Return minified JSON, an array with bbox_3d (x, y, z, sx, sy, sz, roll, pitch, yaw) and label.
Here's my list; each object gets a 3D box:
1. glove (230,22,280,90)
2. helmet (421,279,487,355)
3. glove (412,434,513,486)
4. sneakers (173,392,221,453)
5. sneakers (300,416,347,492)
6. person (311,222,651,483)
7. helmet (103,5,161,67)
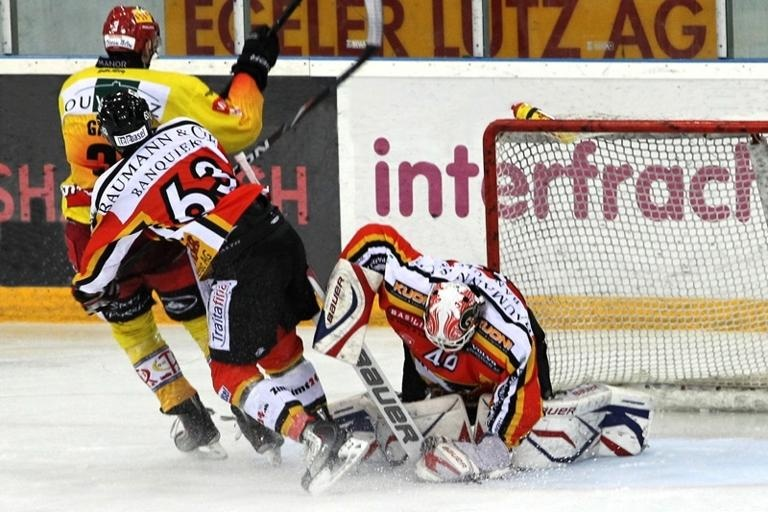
[{"bbox_3d":[-0.731,-1.174,7.894,0.237,0.408,0.160,32,-2,22],"label":"glove"},{"bbox_3d":[0.377,0.315,7.370,0.356,0.318,0.403,13,53,15],"label":"helmet"},{"bbox_3d":[0.430,1.113,7.248,0.449,0.192,0.247,2,2,-5],"label":"glove"},{"bbox_3d":[-1.084,0.998,7.775,0.198,0.346,0.262,-27,-17,-1],"label":"sneakers"},{"bbox_3d":[-0.328,1.074,7.192,0.248,0.354,0.181,-1,8,-3],"label":"sneakers"},{"bbox_3d":[0.587,0.528,7.617,1.544,0.974,1.541,25,33,28],"label":"person"},{"bbox_3d":[-1.452,-1.285,7.833,0.283,0.363,0.371,4,3,11],"label":"helmet"}]
